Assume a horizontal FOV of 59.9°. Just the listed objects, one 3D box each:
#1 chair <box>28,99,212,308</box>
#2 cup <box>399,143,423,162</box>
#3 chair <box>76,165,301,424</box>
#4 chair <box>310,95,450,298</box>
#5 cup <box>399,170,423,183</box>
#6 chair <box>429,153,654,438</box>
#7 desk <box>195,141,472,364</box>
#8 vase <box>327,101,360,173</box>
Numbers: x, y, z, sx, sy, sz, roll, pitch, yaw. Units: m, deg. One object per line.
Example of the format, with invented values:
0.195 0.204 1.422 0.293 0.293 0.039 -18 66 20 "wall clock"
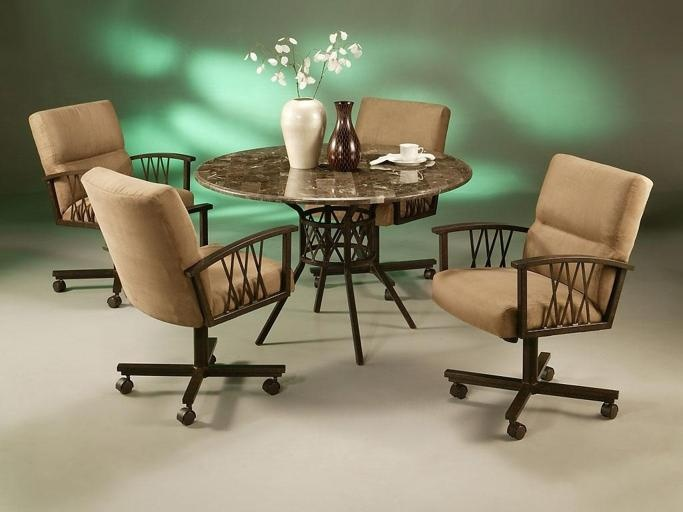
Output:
-1.442 -0.404 4.032 1.137 1.045 0.994 0 29 -23 "chair"
0.396 -0.592 3.397 0.126 0.099 0.151 0 2 11 "cup"
-0.658 0.158 2.680 0.693 0.880 0.758 6 8 28 "chair"
0.186 -0.436 4.040 0.908 1.197 0.921 -13 23 -33 "chair"
0.368 -0.416 3.111 0.136 0.074 0.076 -1 9 -12 "cup"
0.876 0.148 2.743 0.978 1.045 0.957 3 14 27 "chair"
-0.025 -0.015 3.473 1.661 0.961 1.525 -1 14 -1 "desk"
0.015 -0.649 3.210 0.167 0.380 0.178 1 26 0 "vase"
